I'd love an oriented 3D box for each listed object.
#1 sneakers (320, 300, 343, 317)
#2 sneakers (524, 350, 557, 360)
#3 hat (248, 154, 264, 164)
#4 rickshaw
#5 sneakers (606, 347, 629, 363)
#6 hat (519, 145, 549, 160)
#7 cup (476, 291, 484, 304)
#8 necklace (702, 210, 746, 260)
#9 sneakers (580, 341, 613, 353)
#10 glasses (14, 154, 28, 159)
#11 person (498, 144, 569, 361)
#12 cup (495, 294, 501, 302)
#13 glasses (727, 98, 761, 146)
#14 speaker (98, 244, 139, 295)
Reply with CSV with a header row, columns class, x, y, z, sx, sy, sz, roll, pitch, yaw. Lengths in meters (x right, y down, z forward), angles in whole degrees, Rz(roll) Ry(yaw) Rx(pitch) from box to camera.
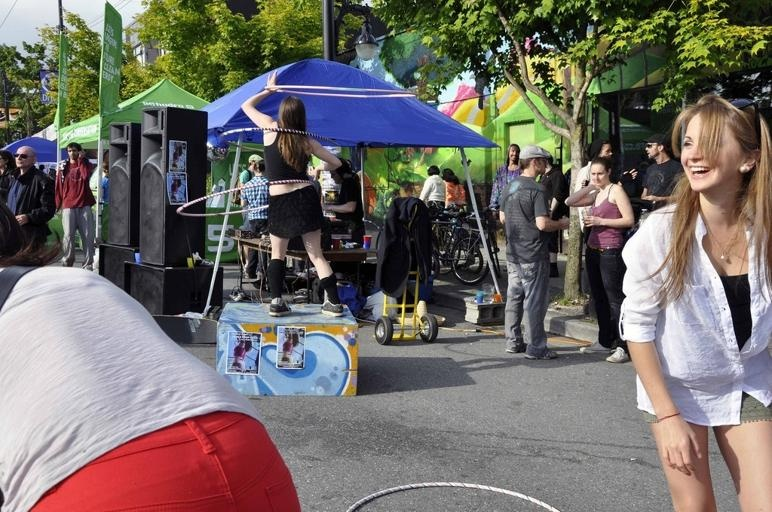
class,x,y,z,sx,sy,sz,roll,pitch,yaw
sneakers,-0.515,0.497,6.606,0.207,0.135,0.227,-1,8,-4
sneakers,1.742,1.104,7.665,0.325,0.165,0.130,-2,1,-10
hat,-2.498,-1.857,12.986,0.369,0.174,0.509,-1,11,-6
rickshaw,0.260,0.157,8.512,0.770,1.799,1.018,0,8,4
sneakers,2.535,1.089,7.470,0.280,0.122,0.116,4,-3,-28
hat,1.749,-1.190,7.852,0.357,0.146,0.268,-6,8,-39
cup,1.328,0.564,9.504,0.122,0.188,0.127,0,1,0
necklace,1.457,-0.073,2.918,0.158,0.238,0.063,2,-4,7
sneakers,2.446,1.061,7.908,0.334,0.154,0.138,2,-1,9
glasses,-5.593,-1.530,10.439,0.161,0.057,0.138,-3,8,-19
person,1.631,0.111,7.727,0.444,2.048,0.722,-5,9,-34
cup,1.574,0.587,9.576,0.088,0.111,0.088,-1,-5,0
glasses,1.539,-0.575,2.901,0.054,0.185,0.175,-6,10,-26
speaker,-3.180,0.128,8.179,0.255,0.591,0.651,2,-1,-39
